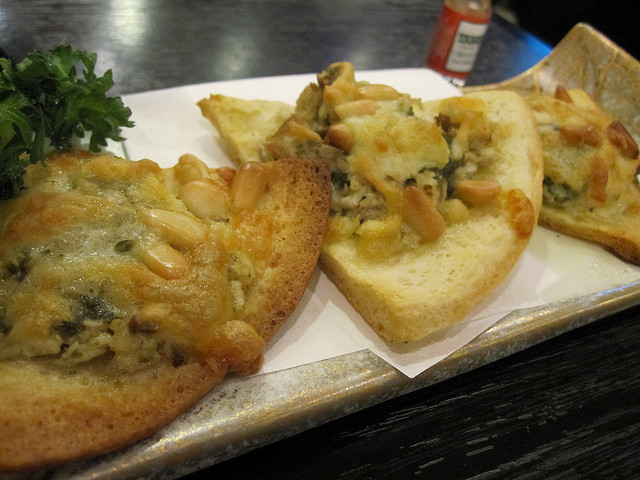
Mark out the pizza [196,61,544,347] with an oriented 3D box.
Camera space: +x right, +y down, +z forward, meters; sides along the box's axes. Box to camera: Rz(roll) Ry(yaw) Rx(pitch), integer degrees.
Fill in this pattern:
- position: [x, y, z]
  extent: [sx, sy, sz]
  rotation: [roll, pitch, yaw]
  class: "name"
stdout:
- position: [0.299, -0.062, 2.224]
  extent: [1.200, 0.368, 1.125]
  rotation: [-15, 69, -12]
  class: "pizza"
